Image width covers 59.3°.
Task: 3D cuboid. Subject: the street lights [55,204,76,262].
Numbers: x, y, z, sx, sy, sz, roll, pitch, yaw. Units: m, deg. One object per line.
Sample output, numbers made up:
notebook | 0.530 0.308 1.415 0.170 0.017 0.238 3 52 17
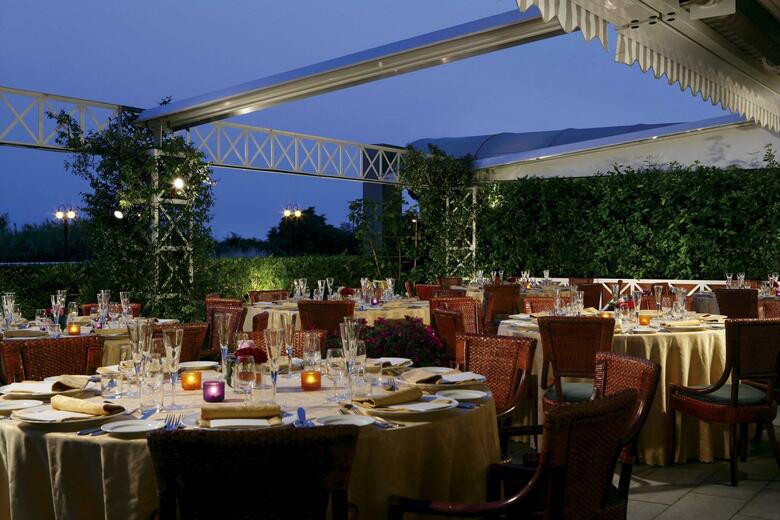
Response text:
street lights | -5.555 -0.442 11.794 0.355 1.004 0.850 -1 -4 -26
